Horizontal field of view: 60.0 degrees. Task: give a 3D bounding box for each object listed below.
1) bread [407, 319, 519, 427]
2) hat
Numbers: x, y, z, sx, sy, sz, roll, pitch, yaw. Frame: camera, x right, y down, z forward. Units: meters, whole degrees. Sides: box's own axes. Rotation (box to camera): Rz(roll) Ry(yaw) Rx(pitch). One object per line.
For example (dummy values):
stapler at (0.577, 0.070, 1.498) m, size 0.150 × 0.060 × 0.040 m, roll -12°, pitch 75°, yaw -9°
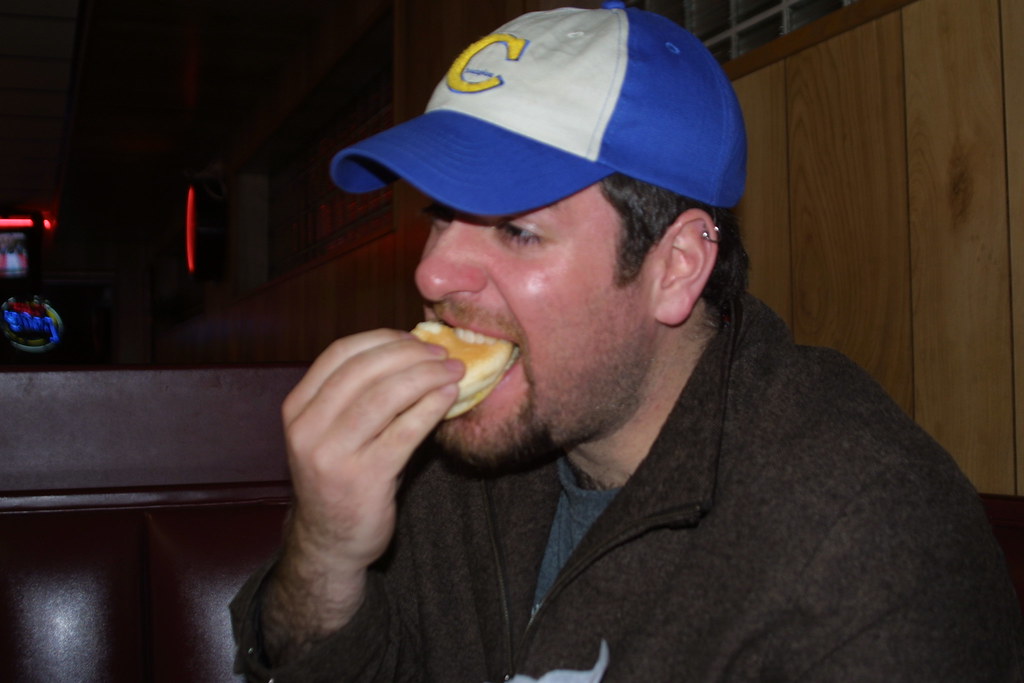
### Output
bread at (-0.113, 0.056, 2.312) m, size 0.246 × 0.081 × 0.249 m, roll -23°, pitch 19°, yaw -13°
hat at (0.113, -0.500, 2.350) m, size 0.802 × 0.425 × 0.594 m, roll 6°, pitch 10°, yaw -21°
